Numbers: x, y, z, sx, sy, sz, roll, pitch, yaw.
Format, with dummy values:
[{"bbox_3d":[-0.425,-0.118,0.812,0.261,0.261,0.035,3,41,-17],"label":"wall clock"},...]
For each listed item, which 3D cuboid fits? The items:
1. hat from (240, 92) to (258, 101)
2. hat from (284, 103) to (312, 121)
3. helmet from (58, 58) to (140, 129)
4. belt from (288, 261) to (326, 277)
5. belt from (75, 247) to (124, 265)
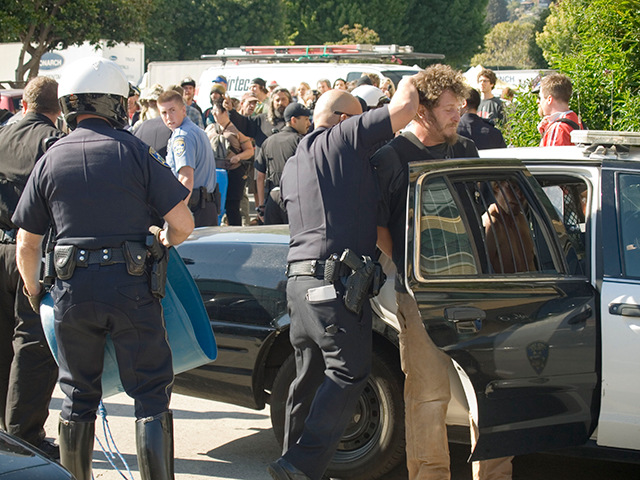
[{"bbox_3d":[-0.927,-1.840,12.441,0.191,0.092,0.297,0,6,-22],"label":"hat"},{"bbox_3d":[-0.201,-1.155,8.678,0.198,0.105,0.146,-18,17,-7],"label":"hat"},{"bbox_3d":[-1.205,-0.802,5.293,0.307,0.344,0.399,3,7,21],"label":"helmet"},{"bbox_3d":[-0.072,0.172,5.302,0.131,0.049,0.102,-5,-7,43],"label":"belt"},{"bbox_3d":[-1.139,0.086,4.983,0.140,0.056,0.114,-7,-4,10],"label":"belt"}]
